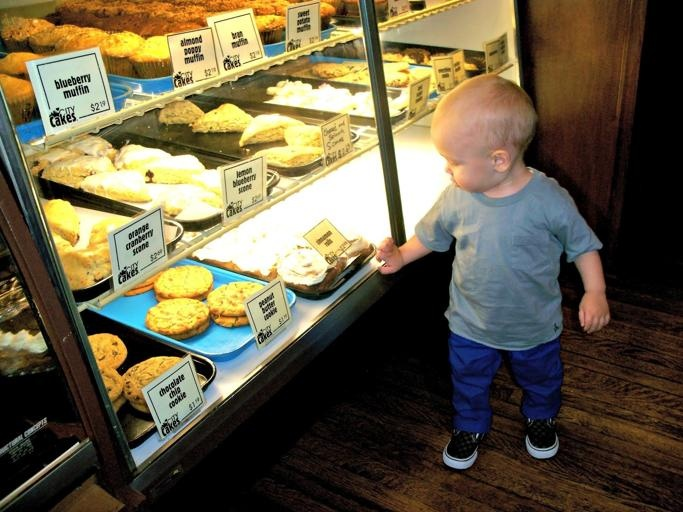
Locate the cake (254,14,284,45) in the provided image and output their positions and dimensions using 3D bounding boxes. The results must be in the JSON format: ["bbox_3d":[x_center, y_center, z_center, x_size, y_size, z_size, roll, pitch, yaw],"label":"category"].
[{"bbox_3d":[-0.238,-0.754,1.634,0.117,0.063,0.097,9,43,14],"label":"cake"}]

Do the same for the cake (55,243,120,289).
[{"bbox_3d":[-0.639,0.015,1.247,0.130,0.030,0.112,7,57,-47],"label":"cake"}]

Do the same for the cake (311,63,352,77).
[{"bbox_3d":[-0.048,-0.808,2.150,0.114,0.037,0.076,3,63,5],"label":"cake"}]

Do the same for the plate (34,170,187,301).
[{"bbox_3d":[-0.740,-0.051,1.639,0.425,0.042,0.403,30,50,22],"label":"plate"}]

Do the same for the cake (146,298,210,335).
[{"bbox_3d":[-0.584,0.216,1.736,0.162,0.032,0.144,3,31,3],"label":"cake"}]

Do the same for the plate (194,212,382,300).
[{"bbox_3d":[-0.282,-0.004,2.028,0.636,0.091,0.348,15,39,24],"label":"plate"}]

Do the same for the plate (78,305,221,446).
[{"bbox_3d":[-0.669,0.408,1.653,0.525,0.053,0.313,34,48,23],"label":"plate"}]

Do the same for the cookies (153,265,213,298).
[{"bbox_3d":[-0.623,0.093,1.920,0.207,0.203,0.043,-27,55,19],"label":"cookies"}]

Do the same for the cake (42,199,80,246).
[{"bbox_3d":[-0.786,-0.099,1.390,0.075,0.099,0.180,-23,34,-24],"label":"cake"}]

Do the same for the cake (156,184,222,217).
[{"bbox_3d":[-0.480,-0.175,1.532,0.159,0.040,0.112,6,36,2],"label":"cake"}]

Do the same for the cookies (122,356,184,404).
[{"bbox_3d":[-0.585,0.369,1.488,0.180,0.047,0.166,12,31,23],"label":"cookies"}]

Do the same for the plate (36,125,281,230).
[{"bbox_3d":[-0.619,-0.229,1.554,0.631,0.080,0.336,17,36,11],"label":"plate"}]

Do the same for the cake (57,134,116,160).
[{"bbox_3d":[-0.845,-0.369,1.626,0.138,0.038,0.138,25,42,12],"label":"cake"}]

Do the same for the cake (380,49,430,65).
[{"bbox_3d":[0.323,-1.010,2.496,0.237,0.051,0.118,3,50,1],"label":"cake"}]

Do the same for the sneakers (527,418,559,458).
[{"bbox_3d":[0.821,0.718,2.035,0.118,0.089,0.258,-6,28,18],"label":"sneakers"}]

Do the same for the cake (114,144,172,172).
[{"bbox_3d":[-0.668,-0.321,1.623,0.139,0.036,0.103,14,38,18],"label":"cake"}]

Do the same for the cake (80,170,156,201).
[{"bbox_3d":[-0.680,-0.215,1.505,0.167,0.039,0.107,9,29,10],"label":"cake"}]

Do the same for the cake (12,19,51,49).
[{"bbox_3d":[-0.868,-0.620,1.392,0.102,0.037,0.114,0,46,-3],"label":"cake"}]

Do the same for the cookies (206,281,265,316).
[{"bbox_3d":[-0.400,0.160,1.825,0.164,0.033,0.148,-9,19,-22],"label":"cookies"}]

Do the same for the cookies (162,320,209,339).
[{"bbox_3d":[-0.554,0.253,1.722,0.092,0.019,0.089,-19,26,-42],"label":"cookies"}]

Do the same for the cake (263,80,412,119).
[{"bbox_3d":[-0.028,-0.656,2.083,0.490,0.058,0.246,10,48,6],"label":"cake"}]

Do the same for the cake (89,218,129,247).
[{"bbox_3d":[-0.658,-0.071,1.374,0.110,0.043,0.134,-13,30,-13],"label":"cake"}]

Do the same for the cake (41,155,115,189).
[{"bbox_3d":[-0.823,-0.267,1.532,0.158,0.042,0.124,15,37,21],"label":"cake"}]

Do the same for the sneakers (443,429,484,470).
[{"bbox_3d":[0.480,0.785,1.957,0.094,0.075,0.217,12,25,22],"label":"sneakers"}]

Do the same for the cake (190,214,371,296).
[{"bbox_3d":[-0.303,-0.040,2.003,0.621,0.078,0.340,16,39,25],"label":"cake"}]
